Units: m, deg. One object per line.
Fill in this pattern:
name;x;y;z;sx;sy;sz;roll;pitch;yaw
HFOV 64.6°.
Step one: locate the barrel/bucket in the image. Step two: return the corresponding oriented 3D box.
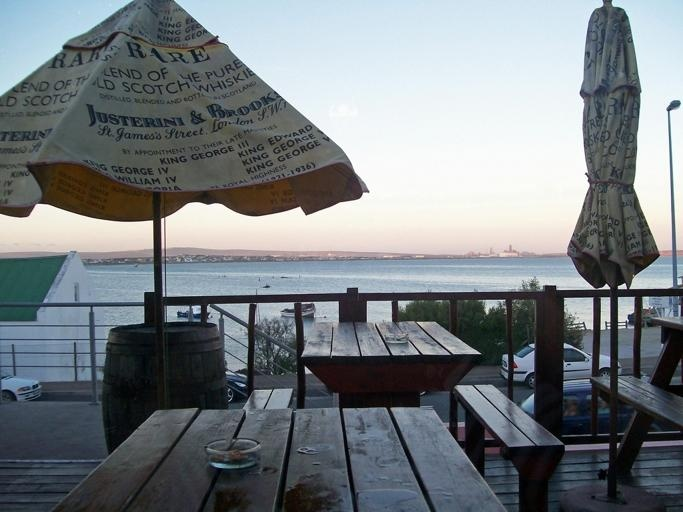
barrel/bucket;-0.924;0.776;3.358;0.755;0.730;0.750;0;1;0
